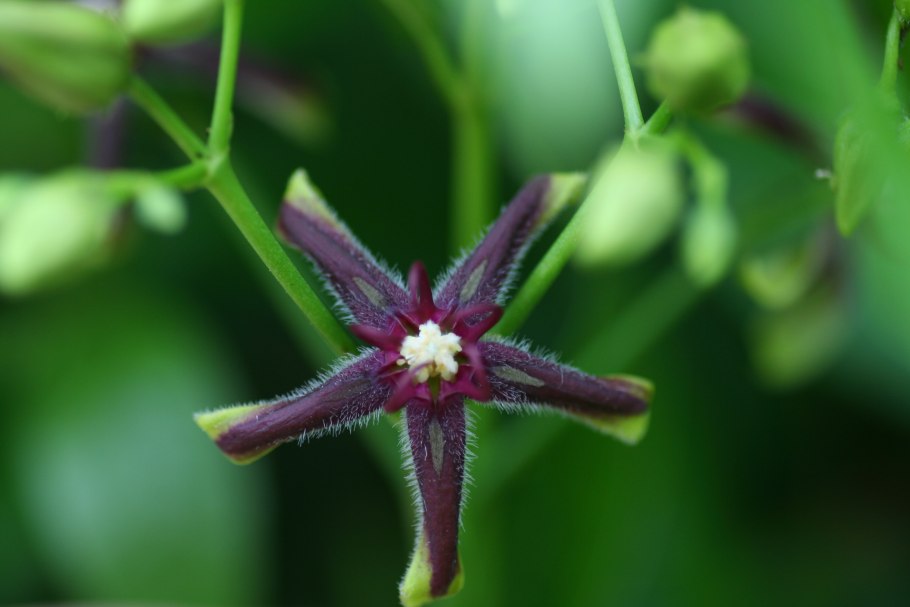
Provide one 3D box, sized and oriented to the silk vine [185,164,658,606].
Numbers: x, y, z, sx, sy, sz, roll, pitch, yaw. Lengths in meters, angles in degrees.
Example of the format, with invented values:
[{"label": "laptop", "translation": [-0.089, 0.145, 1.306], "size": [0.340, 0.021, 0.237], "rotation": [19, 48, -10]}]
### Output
[{"label": "silk vine", "translation": [-0.035, 0.103, 1.462], "size": [0.669, 0.415, 0.551], "rotation": [6, 40, 10]}]
